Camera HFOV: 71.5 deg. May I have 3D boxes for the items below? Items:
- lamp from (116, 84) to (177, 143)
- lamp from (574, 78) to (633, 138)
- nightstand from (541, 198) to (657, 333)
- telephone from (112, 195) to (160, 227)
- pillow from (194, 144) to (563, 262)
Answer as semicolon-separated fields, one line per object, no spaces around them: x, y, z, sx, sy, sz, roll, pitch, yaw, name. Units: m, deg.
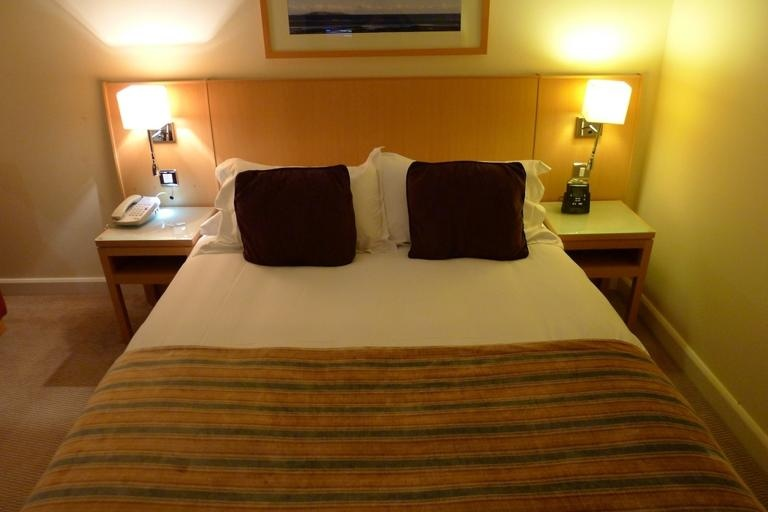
-1.546;-0.943;3.473;0.272;0.322;0.234;-5;24;-6;lamp
1.396;-0.931;3.425;0.296;0.372;0.283;4;25;14;lamp
1.391;0.054;3.603;0.649;0.716;0.514;4;25;13;nightstand
-1.661;-0.305;3.574;0.202;0.105;0.266;2;35;9;telephone
0.008;-0.306;3.193;1.760;0.615;0.203;-4;-5;-6;pillow
